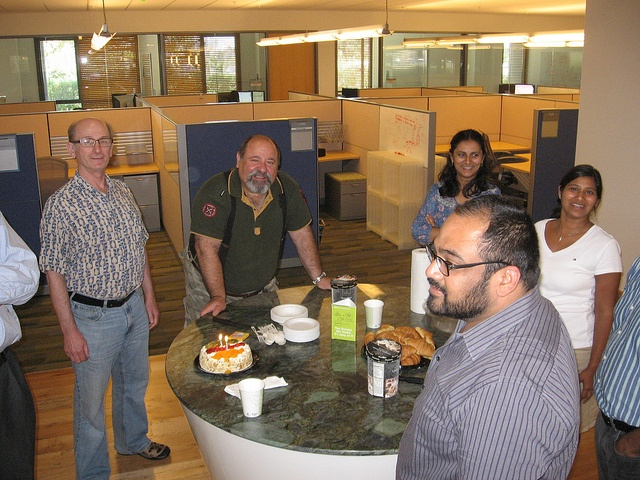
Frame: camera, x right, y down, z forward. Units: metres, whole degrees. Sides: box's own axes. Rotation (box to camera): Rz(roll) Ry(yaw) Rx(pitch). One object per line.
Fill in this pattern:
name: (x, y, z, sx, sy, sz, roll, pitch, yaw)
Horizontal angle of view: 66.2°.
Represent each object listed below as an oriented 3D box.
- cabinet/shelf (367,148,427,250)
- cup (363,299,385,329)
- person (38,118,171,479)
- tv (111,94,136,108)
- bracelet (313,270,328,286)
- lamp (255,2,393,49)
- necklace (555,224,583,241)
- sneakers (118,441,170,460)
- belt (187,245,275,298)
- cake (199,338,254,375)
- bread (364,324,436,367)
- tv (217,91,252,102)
cabinet/shelf: (1.019, -0.555, 6.369, 0.417, 1.165, 1.268, -5, 14, -22)
cup: (0.257, 0.346, 2.375, 0.124, 0.112, 0.120, -1, 10, 0)
person: (-1.125, 0.374, 2.620, 0.354, 1.989, 0.532, -1, 14, 5)
tv: (-3.296, -2.350, 8.354, 0.345, 0.212, 0.732, -9, 15, -27)
bracelet: (0.026, 0.231, 2.872, 0.093, 0.034, 0.078, -43, 12, -9)
lamp: (-0.051, -4.819, 10.970, 2.820, 0.817, 0.299, 14, 30, 44)
necklace: (1.285, -0.042, 2.562, 0.052, 0.081, 0.112, -18, 6, -40)
sneakers: (-1.039, 1.268, 2.958, 0.314, 0.114, 0.109, -1, 24, -8)
belt: (-0.542, 0.214, 2.972, 0.454, 0.275, 0.321, -10, 25, -18)
cake: (-0.396, 0.463, 2.063, 0.218, 0.113, 0.211, 4, 10, 18)
bread: (0.362, 0.419, 2.068, 0.183, 0.046, 0.177, -9, 15, -32)
tv: (-1.575, -2.625, 9.031, 0.596, 0.209, 0.720, 0, 13, 5)
